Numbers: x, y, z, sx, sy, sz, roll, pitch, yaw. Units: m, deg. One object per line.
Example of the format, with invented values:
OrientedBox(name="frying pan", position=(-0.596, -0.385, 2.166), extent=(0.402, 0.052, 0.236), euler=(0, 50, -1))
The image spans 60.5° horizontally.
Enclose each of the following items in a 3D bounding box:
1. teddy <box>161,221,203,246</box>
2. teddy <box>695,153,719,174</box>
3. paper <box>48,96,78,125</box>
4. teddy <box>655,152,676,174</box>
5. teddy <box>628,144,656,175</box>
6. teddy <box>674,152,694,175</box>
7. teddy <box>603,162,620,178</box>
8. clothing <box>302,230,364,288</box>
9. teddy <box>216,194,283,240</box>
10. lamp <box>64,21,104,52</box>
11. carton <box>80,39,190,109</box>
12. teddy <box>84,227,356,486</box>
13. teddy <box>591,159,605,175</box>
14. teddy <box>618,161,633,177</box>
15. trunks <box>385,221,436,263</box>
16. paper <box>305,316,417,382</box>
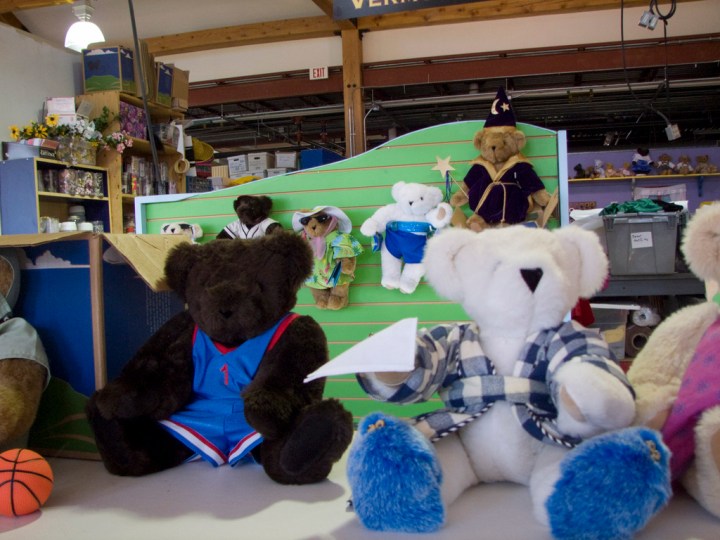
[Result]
OrientedBox(name="teddy", position=(-0.859, -0.202, 3.065), extent=(0.198, 0.099, 0.240), euler=(-1, 0, 1))
OrientedBox(name="teddy", position=(4.754, -1.495, 8.737), extent=(0.268, 0.277, 0.430), euler=(2, 7, 27))
OrientedBox(name="paper", position=(-2.285, -1.272, 4.934), extent=(0.214, 0.215, 0.137), euler=(-2, 6, -13))
OrientedBox(name="teddy", position=(4.236, -1.524, 8.843), extent=(0.237, 0.324, 0.427), euler=(2, 6, 25))
OrientedBox(name="teddy", position=(3.923, -1.558, 8.826), extent=(0.286, 0.384, 0.242), euler=(2, 6, 24))
OrientedBox(name="teddy", position=(4.472, -1.504, 8.771), extent=(0.285, 0.391, 0.178), euler=(8, -34, 16))
OrientedBox(name="teddy", position=(3.541, -1.444, 8.913), extent=(0.185, 0.219, 0.348), euler=(2, 6, 21))
OrientedBox(name="clothing", position=(-0.116, -0.058, 2.911), extent=(0.276, 0.376, 0.143), euler=(-1, -6, 2))
OrientedBox(name="teddy", position=(-0.530, -0.218, 3.122), extent=(0.326, 0.318, 0.181), euler=(-4, -7, 12))
OrientedBox(name="lamp", position=(-2.159, -1.930, 5.041), extent=(0.298, 0.194, 0.205), euler=(5, 8, 43))
OrientedBox(name="carton", position=(-1.835, -1.771, 5.569), extent=(0.923, 0.524, 0.537), euler=(-6, 8, -41))
OrientedBox(name="teddy", position=(-0.379, 0.261, 1.874), extent=(0.731, 0.699, 0.423), euler=(1, 5, 12))
OrientedBox(name="teddy", position=(3.380, -1.479, 8.963), extent=(0.139, 0.273, 0.365), euler=(1, 6, 20))
OrientedBox(name="teddy", position=(3.728, -1.442, 8.876), extent=(0.194, 0.221, 0.509), euler=(-2, 22, 19))
OrientedBox(name="trunks", position=(0.235, -0.147, 3.124), extent=(0.239, 0.224, 0.147), euler=(7, 19, 4))
OrientedBox(name="paper", position=(0.016, 0.194, 1.553), extent=(0.246, 0.131, 0.157), euler=(0, 6, 9))
